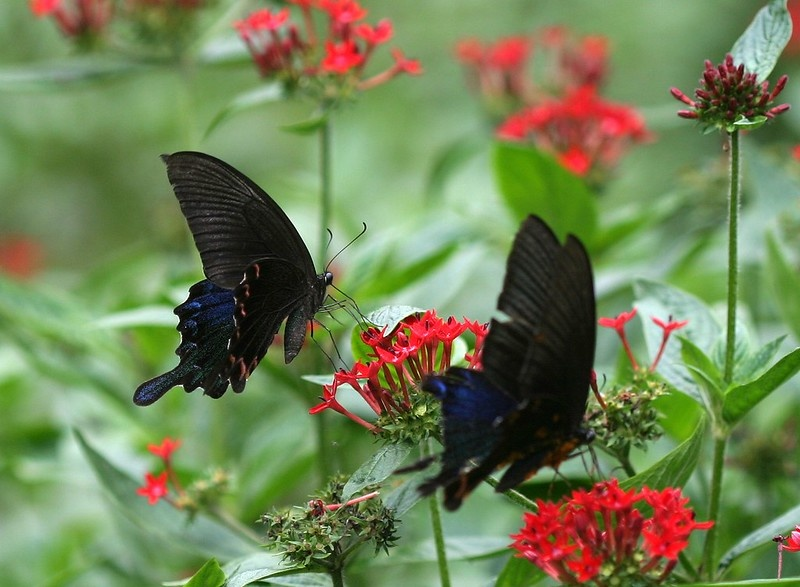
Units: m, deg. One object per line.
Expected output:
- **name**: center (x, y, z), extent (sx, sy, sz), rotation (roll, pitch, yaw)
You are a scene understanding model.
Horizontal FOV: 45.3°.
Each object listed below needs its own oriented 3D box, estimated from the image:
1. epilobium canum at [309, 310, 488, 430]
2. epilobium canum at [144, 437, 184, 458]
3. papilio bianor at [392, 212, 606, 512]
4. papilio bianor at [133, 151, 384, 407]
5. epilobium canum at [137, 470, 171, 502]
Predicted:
- **epilobium canum**: center (-0.036, 0.135, 2.167), extent (0.296, 0.322, 0.328), rotation (-5, 1, -25)
- **epilobium canum**: center (-0.613, 0.397, 2.476), extent (0.094, 0.041, 0.089), rotation (-3, 8, -1)
- **papilio bianor**: center (0.193, 0.145, 1.983), extent (0.438, 0.636, 0.368), rotation (-2, 5, 3)
- **papilio bianor**: center (-0.384, -0.049, 2.362), extent (0.542, 0.779, 0.405), rotation (-8, 5, -18)
- **epilobium canum**: center (-0.589, 0.473, 2.296), extent (0.069, 0.069, 0.097), rotation (-14, -22, -11)
